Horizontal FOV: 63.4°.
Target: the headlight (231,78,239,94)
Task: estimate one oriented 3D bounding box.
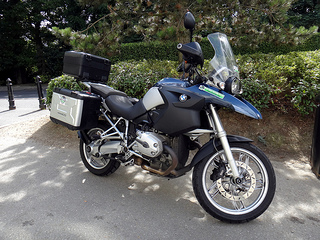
[{"bbox_3d":[0.997,-0.447,3.405,0.111,0.203,0.035,-10,17,-32],"label":"headlight"}]
